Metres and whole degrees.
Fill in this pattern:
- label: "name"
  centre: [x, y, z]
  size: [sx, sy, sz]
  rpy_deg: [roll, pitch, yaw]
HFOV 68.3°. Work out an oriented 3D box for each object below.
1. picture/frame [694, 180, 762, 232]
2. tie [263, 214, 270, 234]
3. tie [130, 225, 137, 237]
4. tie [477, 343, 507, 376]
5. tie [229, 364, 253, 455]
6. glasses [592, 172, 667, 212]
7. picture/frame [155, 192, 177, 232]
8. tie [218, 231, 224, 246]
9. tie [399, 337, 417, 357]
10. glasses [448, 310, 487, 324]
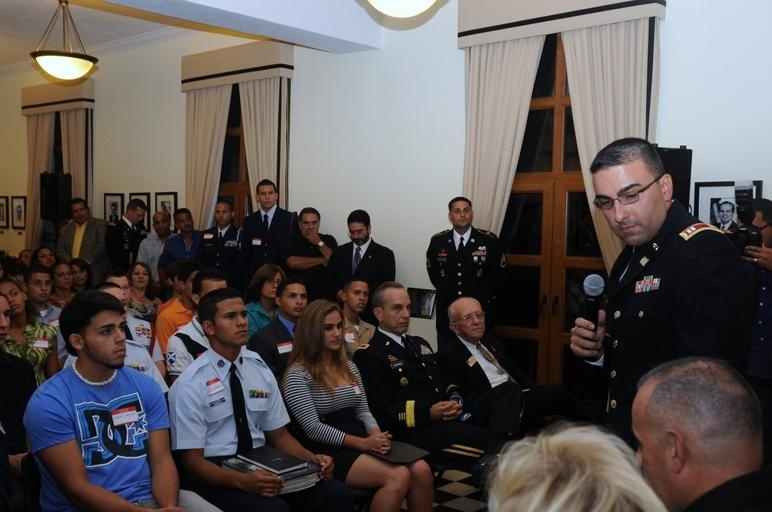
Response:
- label: "picture/frame"
  centre: [2.583, -0.376, 4.257]
  size: [0.459, 0.474, 0.030]
  rpy_deg: [7, -4, 45]
- label: "tie"
  centre: [-1.455, -0.391, 6.928]
  size: [0.053, 0.256, 0.065]
  rpy_deg: [-2, -8, 12]
- label: "tie"
  centre: [-3.722, -0.364, 8.364]
  size: [0.032, 0.123, 0.088]
  rpy_deg: [-14, -9, 19]
- label: "tie"
  centre: [0.815, 0.808, 4.407]
  size: [0.313, 0.055, 0.033]
  rpy_deg: [40, -13, 23]
- label: "tie"
  centre: [-0.848, 0.888, 3.326]
  size: [0.109, 0.485, 0.180]
  rpy_deg: [-2, 4, -28]
- label: "glasses"
  centre: [1.025, -0.265, 2.399]
  size: [0.272, 0.158, 0.137]
  rpy_deg: [2, 4, 27]
- label: "picture/frame"
  centre: [-3.195, -0.632, 8.284]
  size: [0.595, 0.737, 0.032]
  rpy_deg: [-2, -3, 36]
- label: "tie"
  centre: [-2.087, -0.240, 7.164]
  size: [0.088, 0.131, 0.031]
  rpy_deg: [-3, -11, 25]
- label: "tie"
  centre: [0.172, 0.660, 4.272]
  size: [0.136, 0.132, 0.280]
  rpy_deg: [0, 4, 1]
- label: "glasses"
  centre: [0.622, 0.474, 4.405]
  size: [0.245, 0.101, 0.122]
  rpy_deg: [0, 4, 5]
